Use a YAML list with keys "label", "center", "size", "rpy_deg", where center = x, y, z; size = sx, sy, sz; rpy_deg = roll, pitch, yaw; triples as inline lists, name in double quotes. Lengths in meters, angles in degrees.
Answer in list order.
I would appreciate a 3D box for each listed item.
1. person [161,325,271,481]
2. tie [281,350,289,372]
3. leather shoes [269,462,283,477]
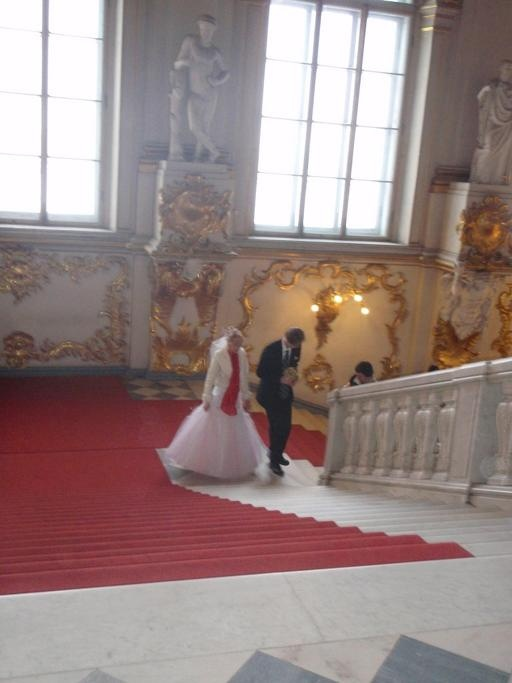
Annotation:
- label: "person"
  center: [-0.477, 0.651, 5.419]
  size: [1.349, 1.351, 0.913]
  rpy_deg: [-7, 30, -32]
- label: "tie"
  center: [0.259, 0.171, 4.703]
  size: [0.067, 0.196, 0.067]
  rpy_deg: [-3, -11, 3]
- label: "leather shoes"
  center: [0.178, 1.242, 5.039]
  size: [0.103, 0.124, 0.111]
  rpy_deg: [-12, -31, -13]
